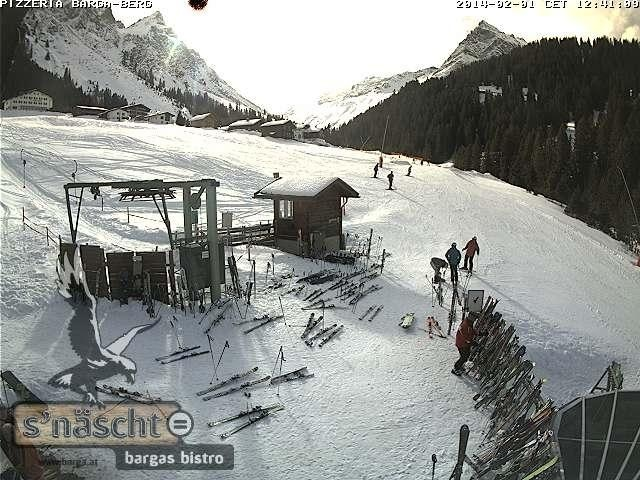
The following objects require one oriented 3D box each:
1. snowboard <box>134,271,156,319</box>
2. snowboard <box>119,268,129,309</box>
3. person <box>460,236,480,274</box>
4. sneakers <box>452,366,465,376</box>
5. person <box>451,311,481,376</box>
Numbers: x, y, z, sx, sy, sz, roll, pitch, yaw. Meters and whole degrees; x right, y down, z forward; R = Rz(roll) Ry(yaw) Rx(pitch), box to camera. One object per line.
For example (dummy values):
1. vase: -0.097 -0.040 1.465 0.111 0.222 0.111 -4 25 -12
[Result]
1. snowboard: -6.593 2.184 20.246 0.523 0.356 2.014 3 60 -28
2. snowboard: -7.517 1.865 20.255 0.316 1.184 0.355 -3 16 -16
3. person: 7.783 0.661 27.157 0.742 1.862 0.576 7 32 2
4. sneakers: 4.681 4.430 17.766 0.492 0.192 0.236 -6 -1 34
5. person: 5.043 3.667 18.175 0.786 2.162 0.831 -3 33 -1
